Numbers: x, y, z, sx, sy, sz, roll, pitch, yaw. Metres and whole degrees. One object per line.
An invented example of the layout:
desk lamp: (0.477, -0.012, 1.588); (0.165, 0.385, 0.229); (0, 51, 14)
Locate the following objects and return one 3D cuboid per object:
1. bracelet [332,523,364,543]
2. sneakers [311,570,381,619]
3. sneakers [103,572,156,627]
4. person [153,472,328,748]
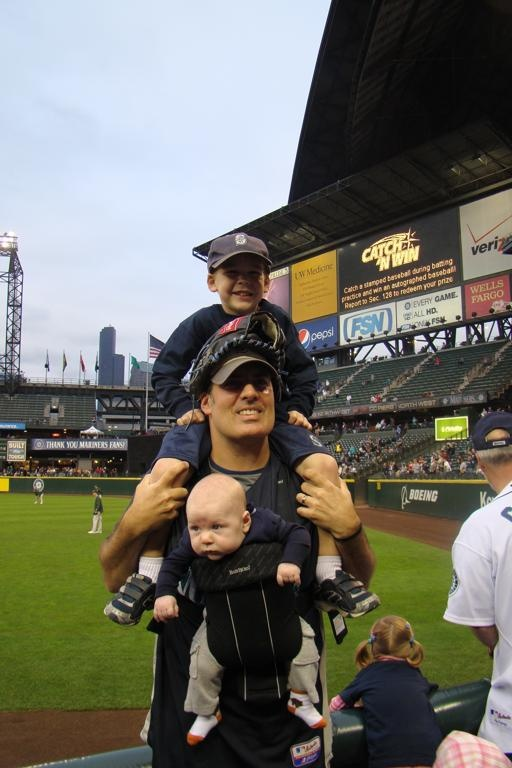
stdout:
bracelet: (0.310, 0.487, 1.899); (0.090, 0.042, 0.144); (-2, -1, 8)
sneakers: (0.279, 0.673, 1.827); (0.101, 0.103, 0.232); (-6, -7, -38)
sneakers: (-0.394, 0.681, 1.825); (0.100, 0.104, 0.265); (17, 4, 15)
person: (-0.063, 0.650, 1.664); (0.475, 0.711, 0.389); (-5, -10, -7)
